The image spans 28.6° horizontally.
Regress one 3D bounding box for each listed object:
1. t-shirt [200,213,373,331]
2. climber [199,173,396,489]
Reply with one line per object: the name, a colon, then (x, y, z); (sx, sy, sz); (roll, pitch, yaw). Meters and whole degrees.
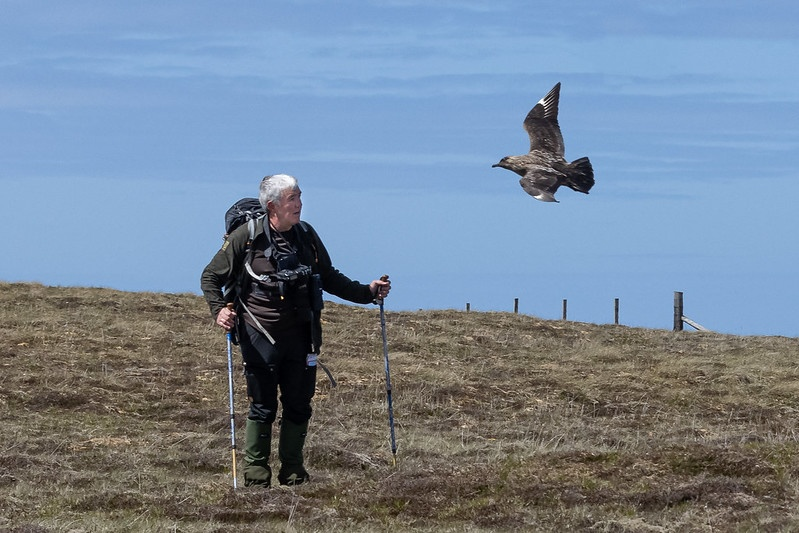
t-shirt: (-1.983, -0.022, 24.277); (2.356, 1.902, 1.820); (1, 5, 35)
climber: (-1.673, 0.898, 24.029); (3.125, 4.424, 1.509); (2, 0, -24)
